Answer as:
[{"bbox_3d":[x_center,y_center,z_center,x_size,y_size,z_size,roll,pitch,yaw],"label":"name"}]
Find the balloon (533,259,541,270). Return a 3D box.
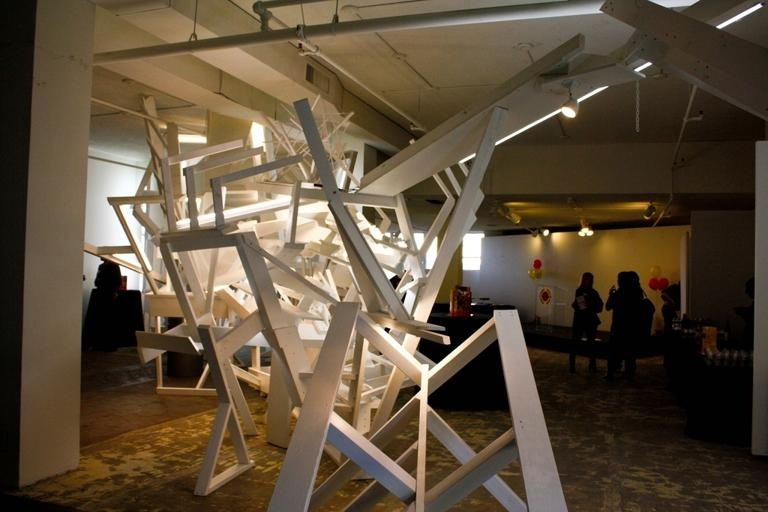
[{"bbox_3d":[4.981,0.301,17.890,0.310,0.363,0.109,-15,17,-22],"label":"balloon"}]

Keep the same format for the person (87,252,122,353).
[{"bbox_3d":[-5.687,1.015,11.150,0.573,1.788,0.625,1,3,-28],"label":"person"}]

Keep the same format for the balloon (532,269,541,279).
[{"bbox_3d":[4.977,0.574,17.780,0.276,0.284,0.517,3,2,18],"label":"balloon"}]
